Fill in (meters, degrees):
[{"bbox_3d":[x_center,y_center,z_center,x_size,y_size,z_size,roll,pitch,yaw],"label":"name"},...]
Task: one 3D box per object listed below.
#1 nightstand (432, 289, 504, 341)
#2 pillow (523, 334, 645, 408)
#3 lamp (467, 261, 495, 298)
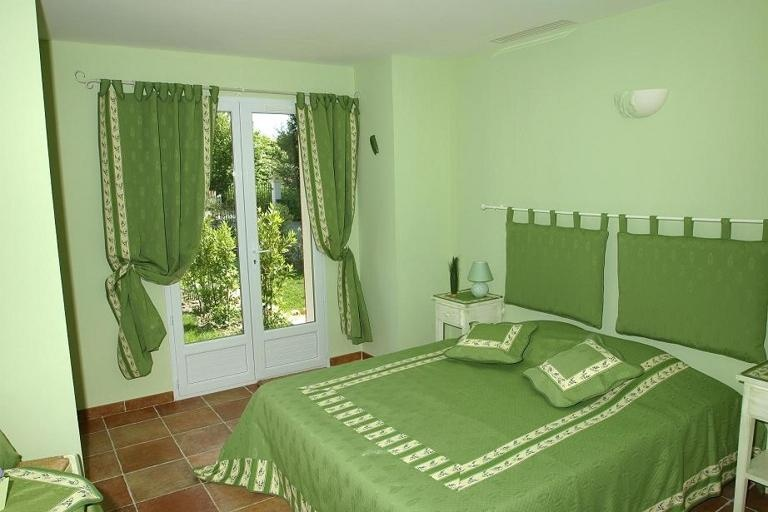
[{"bbox_3d":[0.841,0.482,5.521,0.561,0.716,0.496,-5,9,-33],"label":"nightstand"},{"bbox_3d":[1.436,0.861,4.001,0.513,0.119,0.501,-22,24,-16],"label":"pillow"},{"bbox_3d":[0.989,0.218,5.397,0.208,0.356,0.343,8,15,43],"label":"lamp"}]
